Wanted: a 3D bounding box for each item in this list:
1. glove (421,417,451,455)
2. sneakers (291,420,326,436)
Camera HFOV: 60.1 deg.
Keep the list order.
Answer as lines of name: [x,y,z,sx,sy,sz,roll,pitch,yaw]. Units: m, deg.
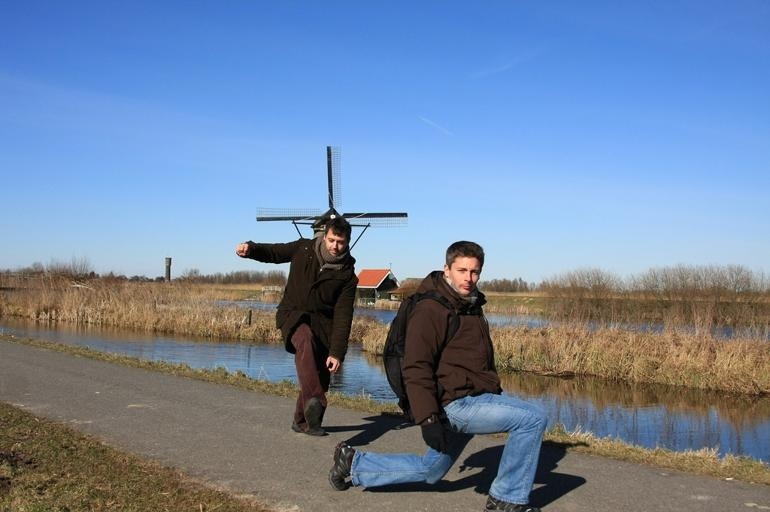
glove: [0.590,2.115,7.956,0.315,0.454,0.189,1,-8,-19]
sneakers: [-1.176,2.674,10.398,0.562,0.256,0.198,0,-3,12]
